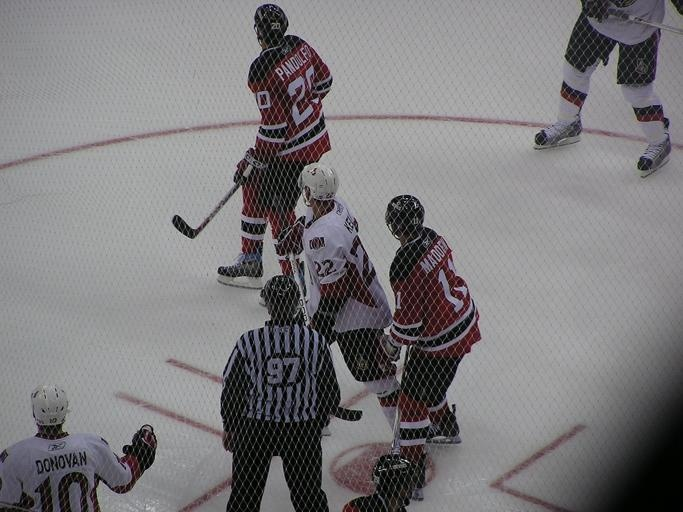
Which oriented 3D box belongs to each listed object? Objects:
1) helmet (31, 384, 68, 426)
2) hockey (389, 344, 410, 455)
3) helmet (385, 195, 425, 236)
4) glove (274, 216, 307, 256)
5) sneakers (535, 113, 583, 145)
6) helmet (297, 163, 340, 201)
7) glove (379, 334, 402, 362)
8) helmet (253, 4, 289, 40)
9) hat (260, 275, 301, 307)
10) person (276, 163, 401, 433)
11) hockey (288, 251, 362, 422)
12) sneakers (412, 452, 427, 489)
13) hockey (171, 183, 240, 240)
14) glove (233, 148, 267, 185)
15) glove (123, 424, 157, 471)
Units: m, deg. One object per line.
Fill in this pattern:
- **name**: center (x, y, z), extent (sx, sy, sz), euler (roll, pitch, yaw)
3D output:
- **helmet**: center (-1.648, 0.822, 5.688), extent (0.199, 0.246, 0.264), euler (0, 15, -20)
- **hockey**: center (0.348, 0.885, 6.013), extent (0.116, 0.730, 0.115), euler (-10, -20, 44)
- **helmet**: center (0.337, -0.223, 5.970), extent (0.238, 0.278, 0.197), euler (-12, -7, 34)
- **glove**: center (-0.365, -0.116, 6.824), extent (0.099, 0.202, 0.273), euler (14, -43, -16)
- **sneakers**: center (1.812, -1.030, 8.620), extent (0.487, 0.232, 0.159), euler (-13, 9, -17)
- **helmet**: center (-0.138, -0.494, 6.327), extent (0.180, 0.239, 0.244), euler (-8, 26, -22)
- **glove**: center (0.290, 0.551, 6.065), extent (0.150, 0.120, 0.127), euler (37, 2, 26)
- **helmet**: center (-0.499, -1.598, 7.003), extent (0.188, 0.252, 0.250), euler (-2, -33, -11)
- **hat**: center (-0.341, 0.229, 5.742), extent (0.210, 0.251, 0.278), euler (4, -16, -13)
- **person**: center (0.024, 0.302, 6.432), extent (0.534, 1.751, 0.988), euler (-21, 27, -36)
- **hockey**: center (-0.098, 0.506, 6.566), extent (0.096, 1.182, 0.413), euler (-16, -15, -10)
- **sneakers**: center (0.467, 1.265, 5.957), extent (0.056, 0.174, 0.120), euler (1, 2, 4)
- **hockey**: center (-1.018, -0.298, 7.494), extent (0.120, 0.446, 0.444), euler (41, -25, -5)
- **glove**: center (-0.664, -0.631, 7.236), extent (0.191, 0.256, 0.077), euler (18, 26, -17)
- **glove**: center (-1.152, 1.115, 5.872), extent (0.165, 0.274, 0.082), euler (21, -50, -21)
